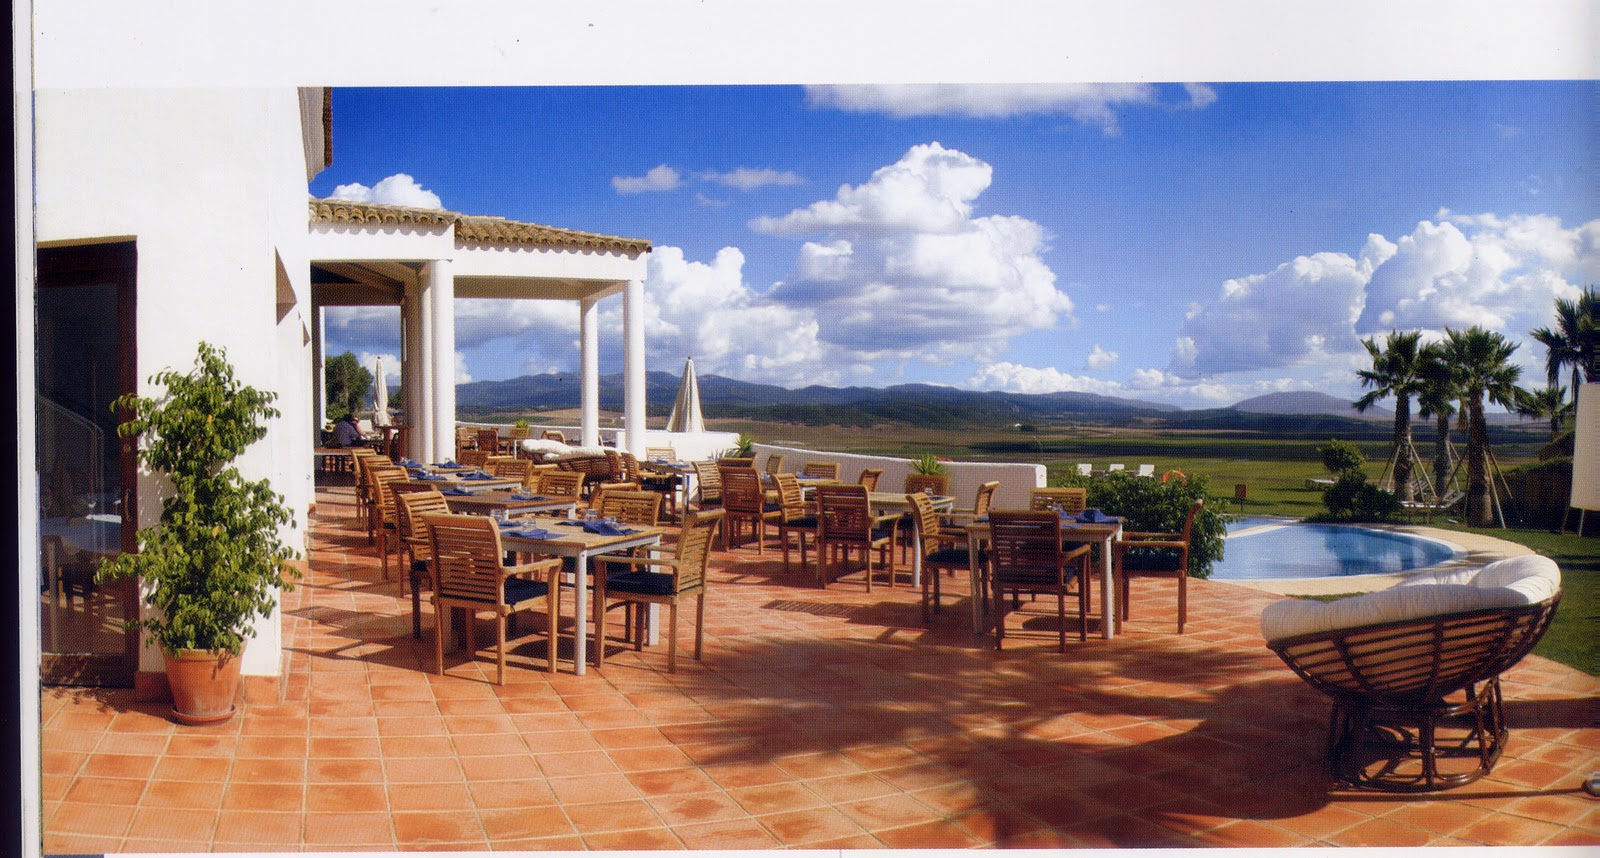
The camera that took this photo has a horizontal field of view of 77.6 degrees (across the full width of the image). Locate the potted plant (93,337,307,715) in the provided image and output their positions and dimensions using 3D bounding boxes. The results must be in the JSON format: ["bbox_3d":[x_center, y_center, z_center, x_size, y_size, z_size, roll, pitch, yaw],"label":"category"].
[{"bbox_3d":[-5.104,0.858,8.726,1.360,3.287,0.596,1,2,-3],"label":"potted plant"}]

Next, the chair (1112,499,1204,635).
[{"bbox_3d":[4.126,1.466,11.904,0.788,1.340,2.858,2,1,17],"label":"chair"}]
